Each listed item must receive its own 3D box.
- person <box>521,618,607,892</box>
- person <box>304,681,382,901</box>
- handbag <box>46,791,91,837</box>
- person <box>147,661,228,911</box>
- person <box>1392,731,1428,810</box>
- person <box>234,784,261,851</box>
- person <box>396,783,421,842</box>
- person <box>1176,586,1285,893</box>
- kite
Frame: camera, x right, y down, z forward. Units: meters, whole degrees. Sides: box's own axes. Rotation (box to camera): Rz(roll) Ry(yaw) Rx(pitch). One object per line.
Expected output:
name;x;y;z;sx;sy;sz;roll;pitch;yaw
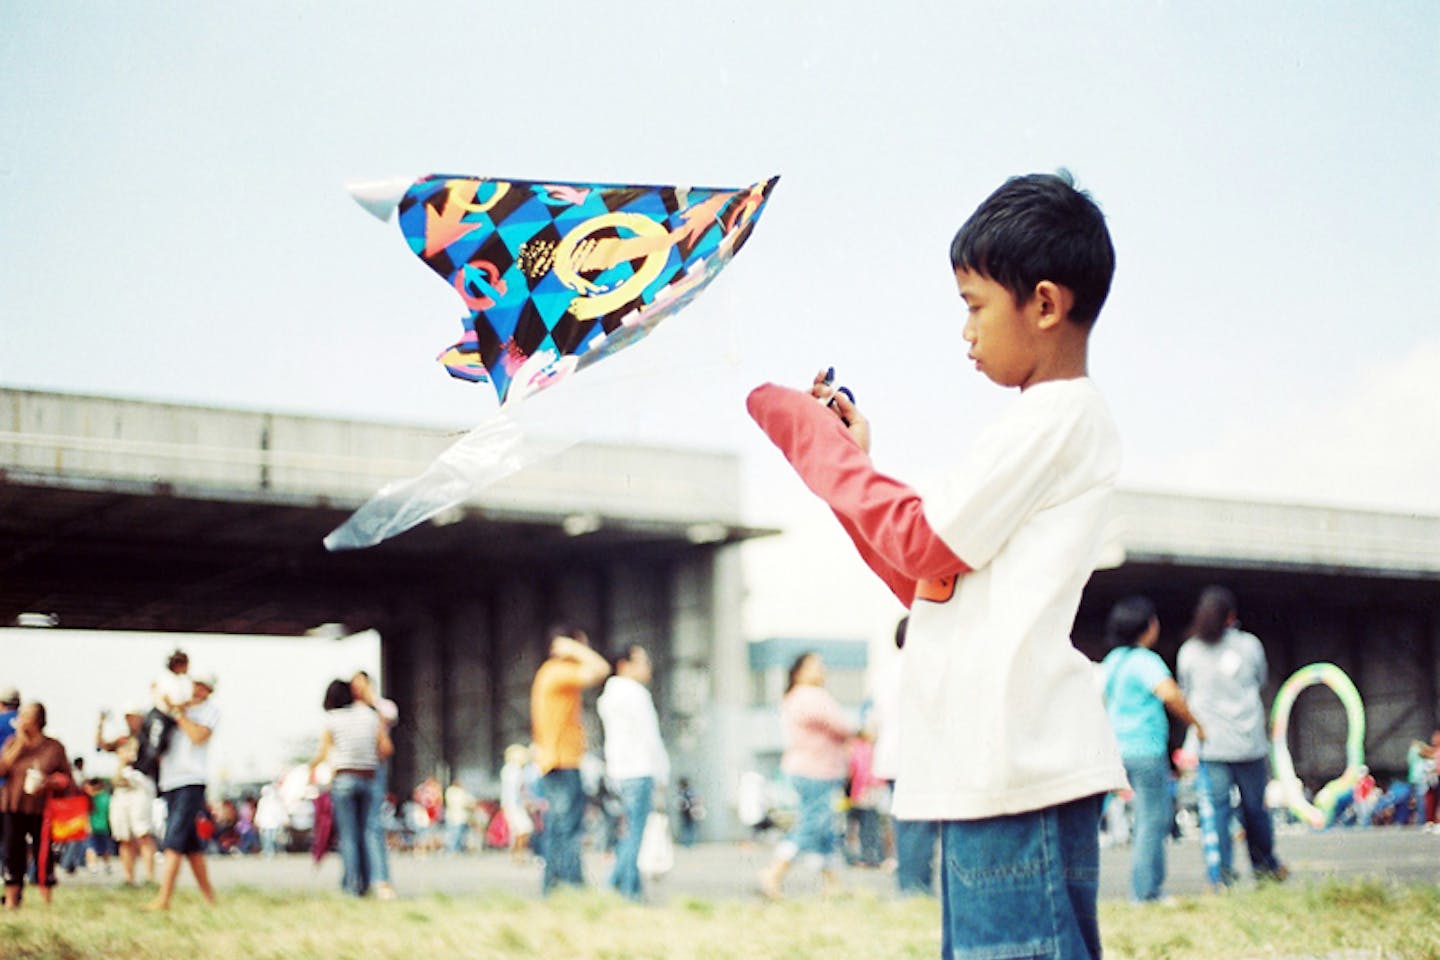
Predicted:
person;-1.138;2.061;12.589;0.548;1.976;0.489;-1;-11;-5
person;-2.933;2.380;13.360;0.588;1.813;0.546;-4;5;-6
handbag;-5.730;2.942;14.664;0.361;0.495;0.189;5;-30;-35
person;-4.117;2.412;12.907;0.420;1.732;0.596;3;-12;-21
person;8.493;3.699;20.661;0.427;0.960;2.927;-6;-12;21
person;-7.013;5.098;24.827;0.342;0.801;1.926;1;-12;-16
person;-5.307;5.692;28.379;0.346;1.135;0.787;1;5;-6
person;3.682;1.852;12.322;0.819;2.189;0.561;6;-13;-36
kite;-0.788;-0.546;8.574;1.744;2.051;0.703;-4;-33;15
